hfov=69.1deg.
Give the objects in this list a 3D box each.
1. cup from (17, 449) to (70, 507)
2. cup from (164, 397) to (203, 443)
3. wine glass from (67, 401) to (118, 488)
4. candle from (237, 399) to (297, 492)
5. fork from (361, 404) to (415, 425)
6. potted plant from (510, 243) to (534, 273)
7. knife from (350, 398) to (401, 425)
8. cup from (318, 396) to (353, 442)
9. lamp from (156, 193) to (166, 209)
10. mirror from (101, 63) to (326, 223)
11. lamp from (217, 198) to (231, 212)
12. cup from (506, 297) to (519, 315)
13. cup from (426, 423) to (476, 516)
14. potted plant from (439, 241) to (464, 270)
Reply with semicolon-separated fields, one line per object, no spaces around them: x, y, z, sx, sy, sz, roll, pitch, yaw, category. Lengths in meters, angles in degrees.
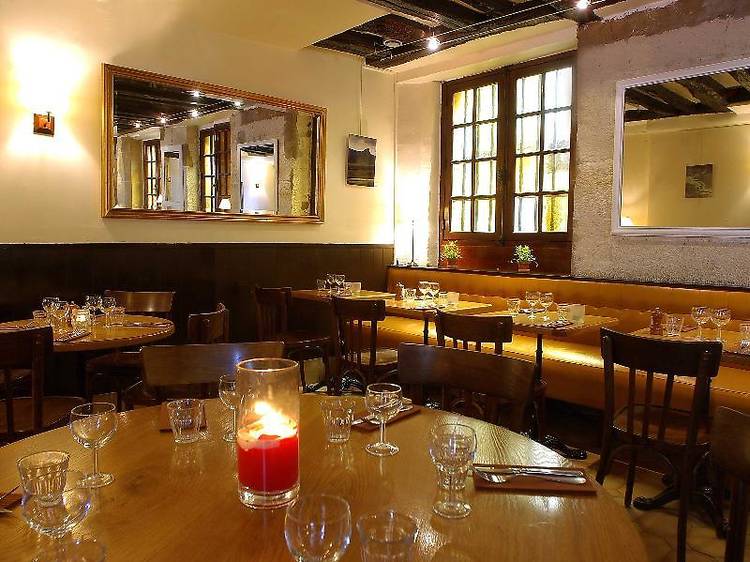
-0.774;0.450;1.294;0.126;0.123;0.142;1;-7;-12;cup
-0.580;0.440;1.679;0.119;0.133;0.123;-1;-6;0;cup
-0.769;0.455;1.484;0.135;0.242;0.140;2;7;-8;wine glass
-0.268;0.436;1.377;0.173;0.200;0.179;-3;-8;12;candle
0.045;0.428;1.814;0.064;0.009;0.205;3;4;41;fork
1.532;-0.232;5.787;0.272;0.327;0.325;-1;0;37;potted plant
-0.005;0.417;1.801;0.068;0.016;0.204;4;9;42;knife
-0.118;0.423;1.701;0.114;0.129;0.115;1;-6;0;cup
-1.916;-0.711;4.835;0.026;0.123;0.068;5;9;41;lamp
-1.582;-1.303;5.079;1.837;1.077;0.071;1;2;-39;mirror
-1.456;-0.738;5.236;0.119;0.084;0.112;4;7;35;lamp
1.080;0.198;4.217;0.114;0.127;0.117;0;-5;0;cup
0.188;0.475;1.414;0.163;0.247;0.148;-2;8;1;cup
0.864;-0.304;6.423;0.283;0.383;0.295;-1;6;-3;potted plant
